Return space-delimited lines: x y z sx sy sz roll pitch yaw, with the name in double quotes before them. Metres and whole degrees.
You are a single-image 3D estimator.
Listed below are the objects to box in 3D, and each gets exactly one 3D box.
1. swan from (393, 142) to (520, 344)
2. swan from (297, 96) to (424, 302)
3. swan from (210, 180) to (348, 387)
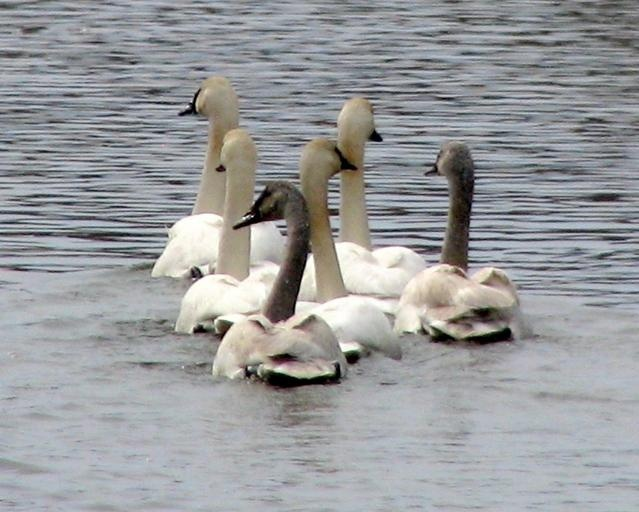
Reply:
"swan" 1.548 -0.137 14.540 1.360 2.068 2.568 2 3 -5
"swan" 0.488 -0.445 15.794 1.415 2.558 1.982 -1 1 -14
"swan" -0.406 0.313 13.658 1.170 1.771 1.835 1 27 -7
